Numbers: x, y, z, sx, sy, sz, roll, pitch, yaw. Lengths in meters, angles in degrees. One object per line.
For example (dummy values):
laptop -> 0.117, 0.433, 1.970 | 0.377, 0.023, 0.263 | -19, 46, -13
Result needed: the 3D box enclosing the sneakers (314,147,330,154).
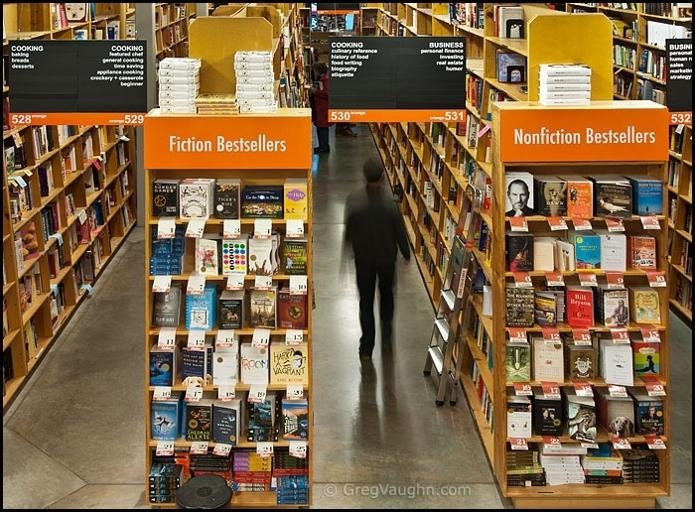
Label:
sneakers -> -0.749, -3.076, 15.970 | 0.442, 0.199, 0.182 | 2, 8, -5
